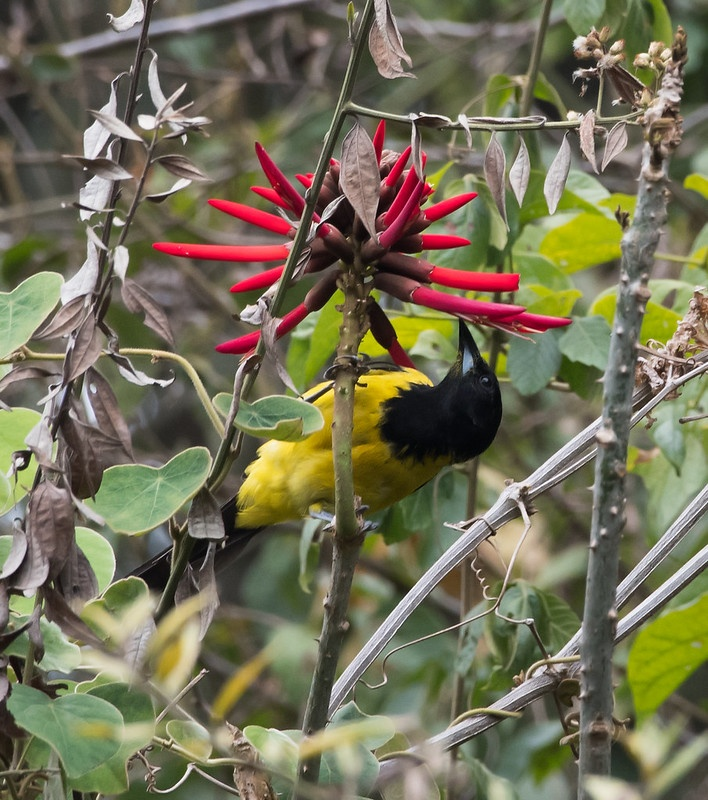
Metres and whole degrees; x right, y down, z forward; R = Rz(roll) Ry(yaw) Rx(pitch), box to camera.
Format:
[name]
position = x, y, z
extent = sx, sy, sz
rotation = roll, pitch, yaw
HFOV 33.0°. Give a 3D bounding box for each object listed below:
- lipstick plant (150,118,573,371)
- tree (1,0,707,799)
[lipstick plant]
position = 0.028, -0.205, 1.634
extent = 0.397, 0.182, 0.420
rotation = -24, 45, -38
[tree]
position = -0.172, -0.034, 1.746
extent = 0.909, 1.128, 0.329
rotation = 2, -5, 1
